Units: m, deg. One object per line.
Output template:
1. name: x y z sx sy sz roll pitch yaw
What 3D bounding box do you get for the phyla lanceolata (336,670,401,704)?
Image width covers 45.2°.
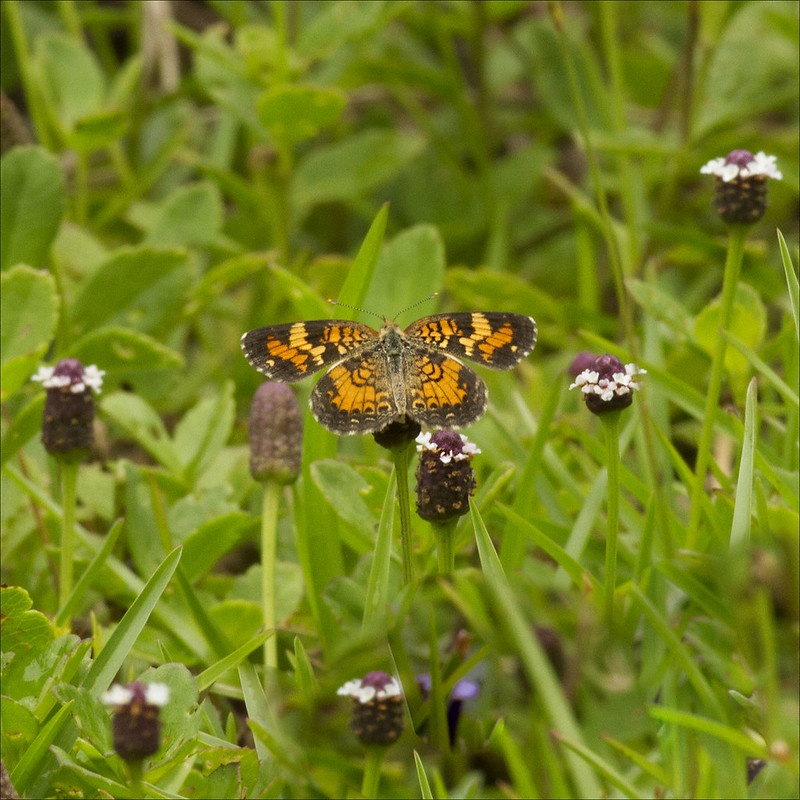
1. phyla lanceolata: -0.015 0.175 0.579 0.021 0.023 0.007 1 95 18

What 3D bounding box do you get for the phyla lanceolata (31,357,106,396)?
1. phyla lanceolata: -0.266 -0.019 0.789 0.038 0.041 0.014 11 94 8
